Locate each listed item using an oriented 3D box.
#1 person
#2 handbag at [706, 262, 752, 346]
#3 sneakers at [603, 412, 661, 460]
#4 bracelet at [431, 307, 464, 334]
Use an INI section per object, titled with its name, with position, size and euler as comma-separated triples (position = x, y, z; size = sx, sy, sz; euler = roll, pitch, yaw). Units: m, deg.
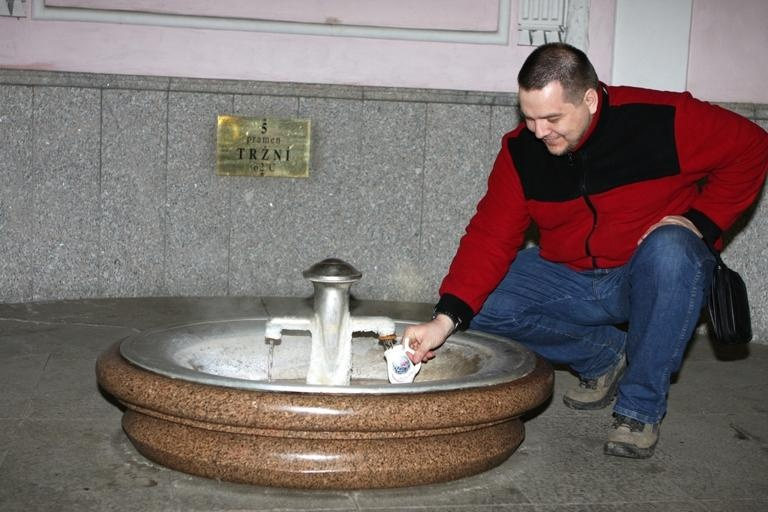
[person]
position = 1.098, -0.086, 3.399
size = 1.562, 1.904, 0.923
euler = 4, 13, 9
[handbag]
position = 1.693, 0.232, 3.263
size = 0.213, 0.417, 0.168
euler = 8, 14, 25
[sneakers]
position = 1.141, 0.844, 3.100
size = 0.132, 0.137, 0.349
euler = 2, -5, 30
[bracelet]
position = 0.315, 0.317, 3.273
size = 0.112, 0.055, 0.141
euler = 10, 5, -24
